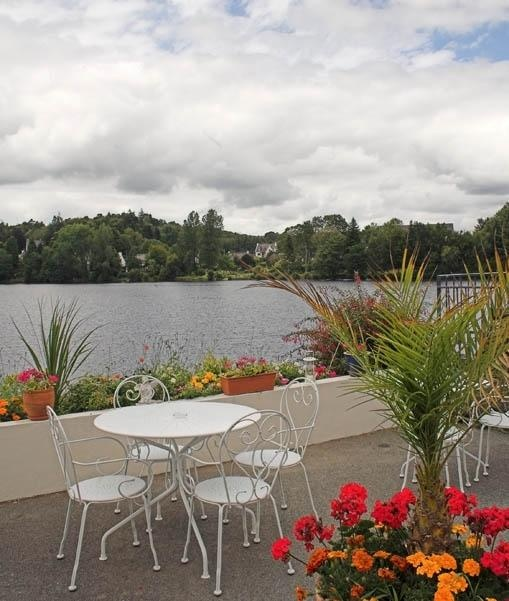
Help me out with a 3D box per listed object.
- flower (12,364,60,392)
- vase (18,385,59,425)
[{"bbox_3d":[-1.465,0.539,3.699,0.156,0.147,0.212,5,-2,15],"label":"flower"},{"bbox_3d":[-1.472,0.670,3.781,0.285,0.394,0.347,0,-2,-23],"label":"vase"}]
